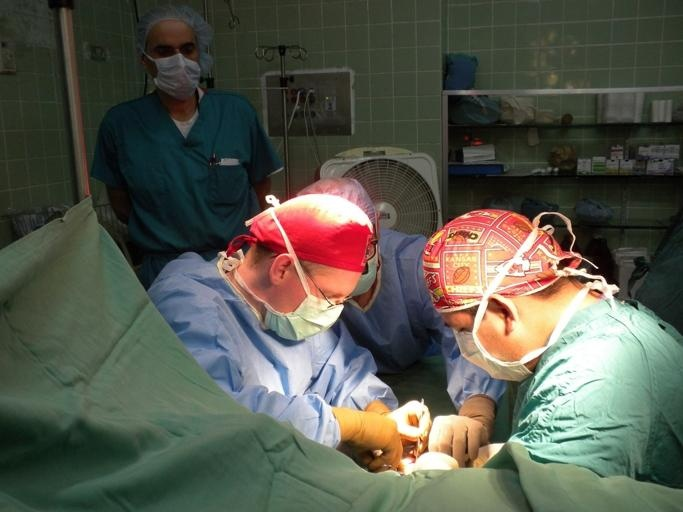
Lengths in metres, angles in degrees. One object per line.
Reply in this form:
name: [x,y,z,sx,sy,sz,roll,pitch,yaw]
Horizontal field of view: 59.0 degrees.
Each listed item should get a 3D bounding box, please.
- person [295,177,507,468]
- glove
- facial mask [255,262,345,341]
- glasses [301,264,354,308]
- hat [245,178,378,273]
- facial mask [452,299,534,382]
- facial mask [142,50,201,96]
person: [0.265,0.257,2.060,0.616,0.958,0.301,-6,2,13]
glove: [0.187,0.520,1.744,0.245,0.105,0.265,1,0,-3]
facial mask: [-0.113,0.160,1.693,0.122,0.230,0.204,-16,0,0]
glasses: [-0.036,0.074,1.618,0.106,0.051,0.115,10,34,-45]
hat: [-0.083,-0.084,1.607,0.266,0.153,0.203,10,3,5]
facial mask: [0.369,0.204,1.454,0.180,0.201,0.080,22,14,8]
facial mask: [-0.678,-0.748,2.519,0.148,0.119,0.184,-16,49,-25]
